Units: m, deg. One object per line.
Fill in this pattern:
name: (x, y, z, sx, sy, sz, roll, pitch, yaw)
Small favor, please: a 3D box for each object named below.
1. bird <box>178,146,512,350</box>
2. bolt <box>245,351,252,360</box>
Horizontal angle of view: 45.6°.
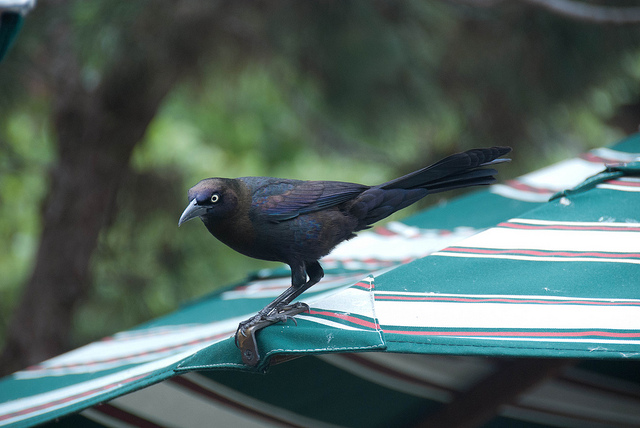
bird: (-0.292, 0.190, 4.109, 2.273, 0.949, 0.673, -9, -8, -4)
bolt: (-0.312, 0.610, 3.294, 0.035, 0.028, 0.008, -23, -9, 9)
